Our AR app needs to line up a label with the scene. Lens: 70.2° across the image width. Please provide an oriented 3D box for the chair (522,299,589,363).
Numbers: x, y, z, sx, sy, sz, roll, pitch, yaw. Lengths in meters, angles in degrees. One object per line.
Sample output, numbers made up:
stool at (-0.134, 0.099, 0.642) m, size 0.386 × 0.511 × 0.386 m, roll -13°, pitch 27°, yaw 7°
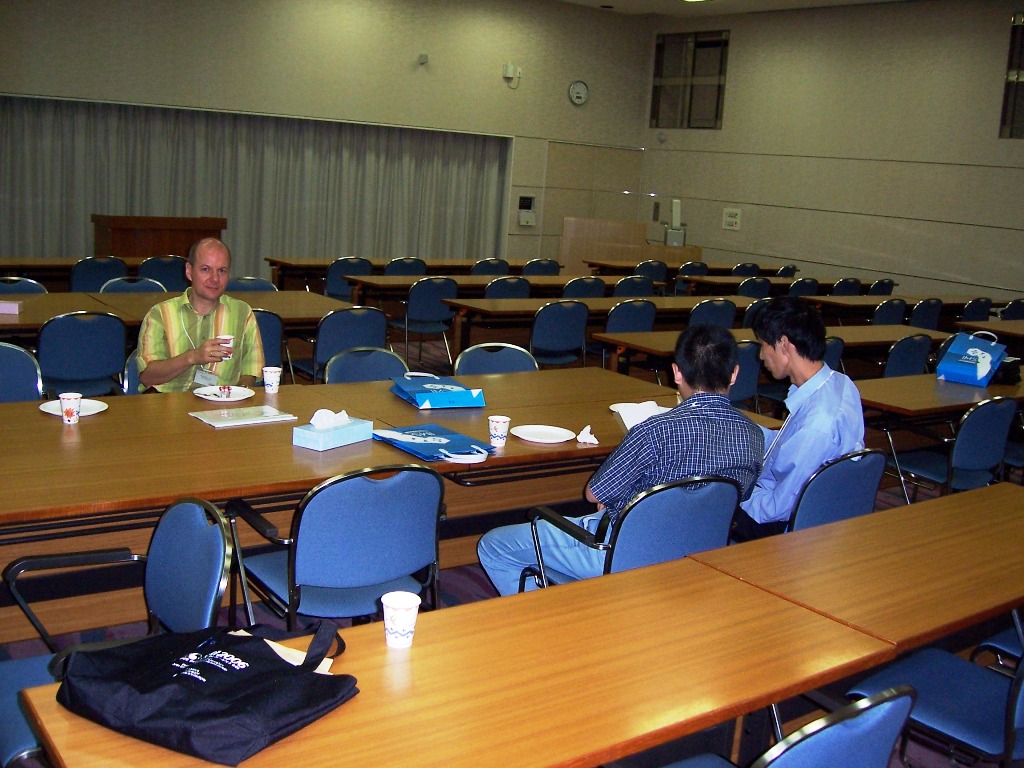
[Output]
chair at (0.346, -0.492, 6.353) m, size 0.494 × 0.773 × 0.528 m, roll -5°, pitch 26°, yaw -15°

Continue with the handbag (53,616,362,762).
handbag at (-0.519, 0.517, 1.246) m, size 0.246 × 0.080 × 0.247 m, roll 11°, pitch 12°, yaw 36°

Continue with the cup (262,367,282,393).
cup at (-1.081, -0.016, 3.283) m, size 0.120 × 0.117 × 0.116 m, roll 2°, pitch 4°, yaw 0°

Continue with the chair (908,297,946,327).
chair at (4.517, -0.757, 7.935) m, size 0.564 × 0.321 × 0.160 m, roll -7°, pitch 18°, yaw -41°

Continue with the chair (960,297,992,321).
chair at (5.162, -0.820, 8.070) m, size 0.236 × 0.230 × 0.604 m, roll 12°, pitch 15°, yaw 29°

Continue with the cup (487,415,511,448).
cup at (-0.044, 0.205, 2.907) m, size 0.109 × 0.104 × 0.106 m, roll 1°, pitch -2°, yaw 0°

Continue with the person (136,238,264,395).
person at (-1.523, -0.299, 3.597) m, size 0.606 × 0.794 × 0.727 m, roll -2°, pitch 15°, yaw -27°

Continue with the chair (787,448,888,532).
chair at (1.205, 0.398, 2.734) m, size 0.218 × 0.352 × 0.238 m, roll -10°, pitch 26°, yaw -20°

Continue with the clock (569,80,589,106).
clock at (1.215, -5.331, 13.378) m, size 0.466 × 0.485 × 0.086 m, roll -4°, pitch 16°, yaw -33°

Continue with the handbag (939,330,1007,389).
handbag at (3.045, -0.145, 4.827) m, size 0.424 × 0.265 × 0.474 m, roll 3°, pitch 54°, yaw 31°
